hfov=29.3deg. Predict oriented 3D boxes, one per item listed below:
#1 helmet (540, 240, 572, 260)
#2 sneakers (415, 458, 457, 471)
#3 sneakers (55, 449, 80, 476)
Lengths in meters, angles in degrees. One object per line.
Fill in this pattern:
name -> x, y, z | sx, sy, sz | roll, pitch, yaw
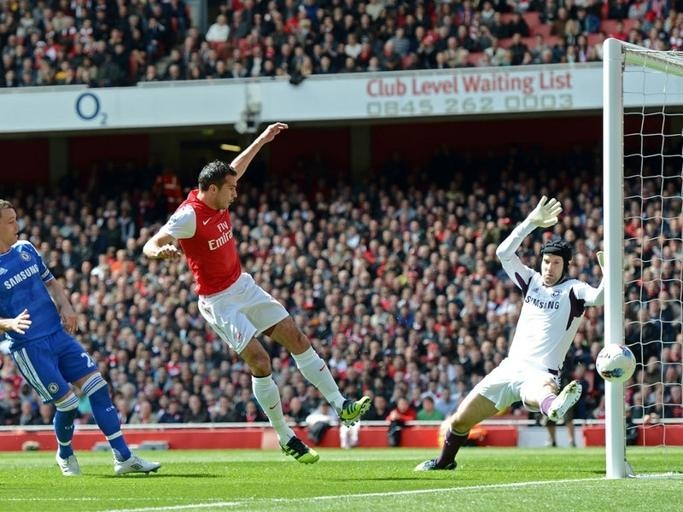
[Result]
helmet -> 2.693, -0.107, 16.290 | 0.291, 0.243, 0.238 | 21, -10, 10
sneakers -> 1.187, 2.627, 16.474 | 0.511, 0.227, 0.191 | 3, -8, 7
sneakers -> -3.495, 2.610, 16.554 | 0.154, 0.200, 0.455 | 3, 1, -38
